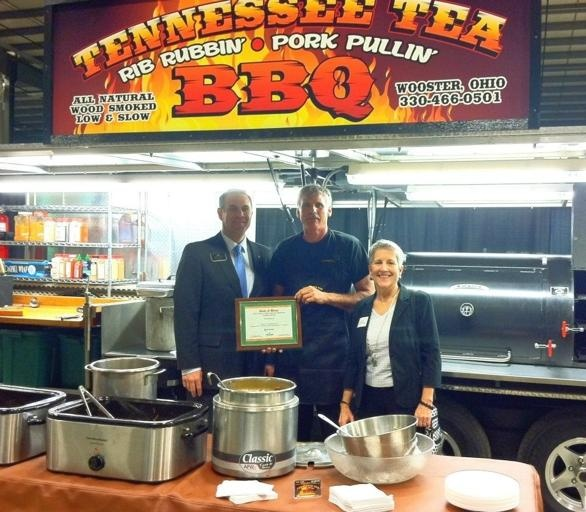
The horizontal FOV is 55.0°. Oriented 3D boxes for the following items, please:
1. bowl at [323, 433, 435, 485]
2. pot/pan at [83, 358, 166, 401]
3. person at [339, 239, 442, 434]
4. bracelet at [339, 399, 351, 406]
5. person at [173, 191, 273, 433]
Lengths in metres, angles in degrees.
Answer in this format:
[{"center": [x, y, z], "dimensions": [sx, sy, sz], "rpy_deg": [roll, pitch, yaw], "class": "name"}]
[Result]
[{"center": [0.309, 0.795, 2.138], "dimensions": [0.231, 0.076, 0.234], "rpy_deg": [-3, -8, 0], "class": "bowl"}, {"center": [-0.768, 0.565, 2.674], "dimensions": [0.289, 0.148, 0.228], "rpy_deg": [1, 0, 11], "class": "pot/pan"}, {"center": [0.550, 0.501, 3.171], "dimensions": [0.548, 1.125, 0.489], "rpy_deg": [3, 14, 14], "class": "person"}, {"center": [0.289, 0.820, 3.177], "dimensions": [0.061, 0.025, 0.068], "rpy_deg": [2, -10, -1], "class": "bracelet"}, {"center": [-0.409, 0.200, 3.281], "dimensions": [0.547, 1.148, 0.556], "rpy_deg": [-1, 13, -3], "class": "person"}]
